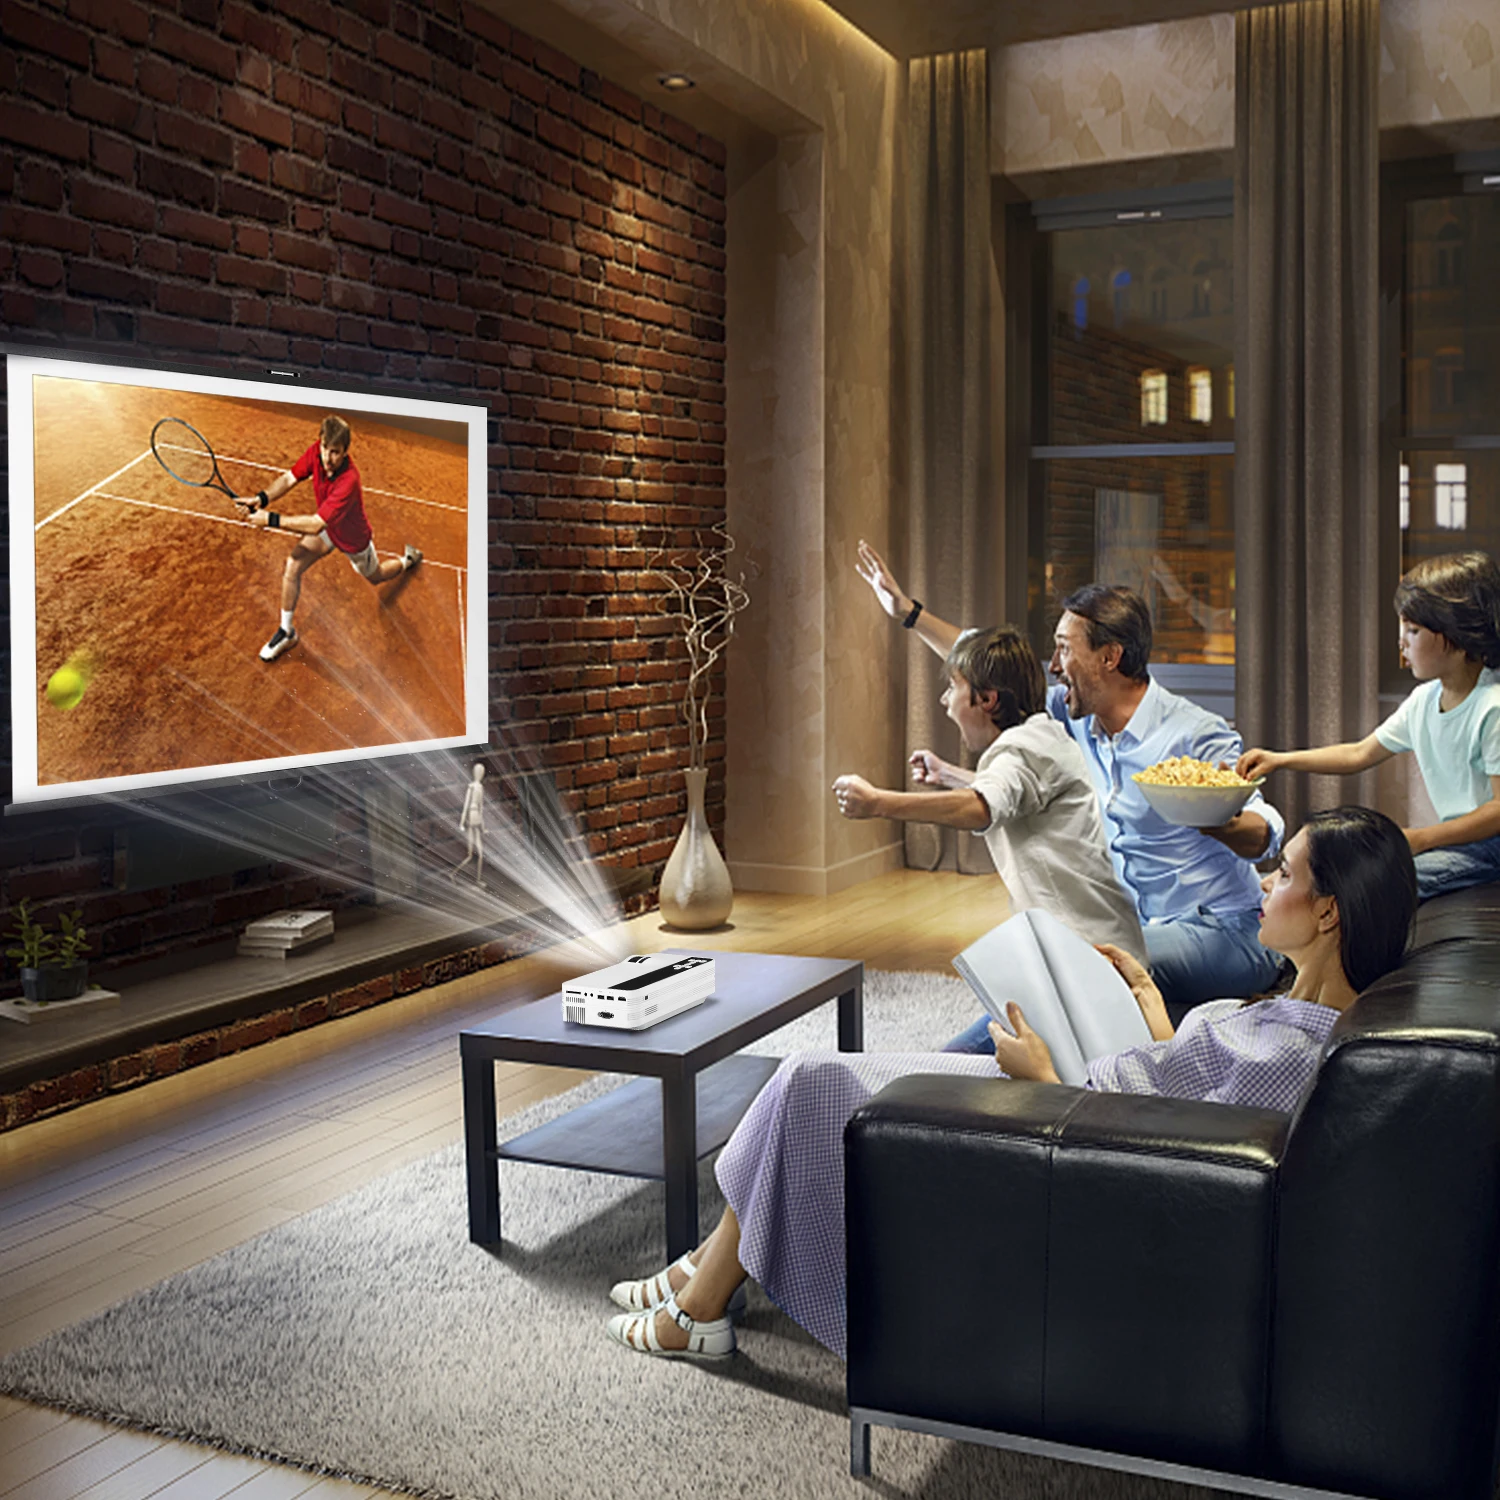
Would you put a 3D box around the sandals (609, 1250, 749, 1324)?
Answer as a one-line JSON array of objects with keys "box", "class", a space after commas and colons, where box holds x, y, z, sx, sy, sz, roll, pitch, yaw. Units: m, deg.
[{"box": [-0.097, 0.801, 1.834, 0.245, 0.106, 0.104, 2, -2, 4], "class": "sandals"}]

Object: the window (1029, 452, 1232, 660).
[{"box": [1.881, -0.985, 5.923, 0.040, 0.972, 0.854, -16, 17, -31], "class": "window"}]

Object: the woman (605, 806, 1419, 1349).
[{"box": [0.258, 0.436, 1.572, 1.042, 0.688, 0.335, -2, 0, 9], "class": "woman"}]

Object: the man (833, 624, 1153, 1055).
[{"box": [0.538, 0.316, 2.810, 0.628, 1.197, 0.846, 2, 15, 11], "class": "man"}]

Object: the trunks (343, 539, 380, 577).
[{"box": [-1.118, -0.555, 3.508, 0.063, 0.082, 0.108, -3, -14, 17], "class": "trunks"}]

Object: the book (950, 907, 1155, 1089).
[{"box": [0.375, 0.352, 1.627, 0.226, 0.228, 0.056, -26, -11, -42], "class": "book"}]

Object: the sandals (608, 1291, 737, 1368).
[{"box": [-0.114, 0.808, 1.735, 0.152, 0.062, 0.077, 6, -3, 17], "class": "sandals"}]

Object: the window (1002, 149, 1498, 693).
[{"box": [2.173, -1.467, 5.166, 2.630, 2.450, 0.388, 1, 3, 42], "class": "window"}]

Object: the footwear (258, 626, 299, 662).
[{"box": [-1.245, -0.282, 3.237, 0.034, 0.040, 0.103, 10, 28, 17], "class": "footwear"}]
